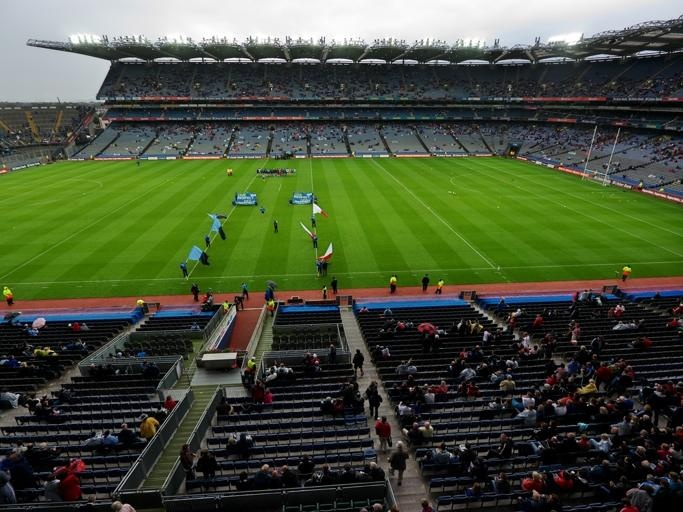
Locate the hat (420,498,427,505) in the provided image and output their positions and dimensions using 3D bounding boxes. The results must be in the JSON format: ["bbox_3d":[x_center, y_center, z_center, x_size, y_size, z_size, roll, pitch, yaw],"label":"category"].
[{"bbox_3d":[3.238,9.564,20.533,0.270,0.219,0.269,6,18,2],"label":"hat"}]
